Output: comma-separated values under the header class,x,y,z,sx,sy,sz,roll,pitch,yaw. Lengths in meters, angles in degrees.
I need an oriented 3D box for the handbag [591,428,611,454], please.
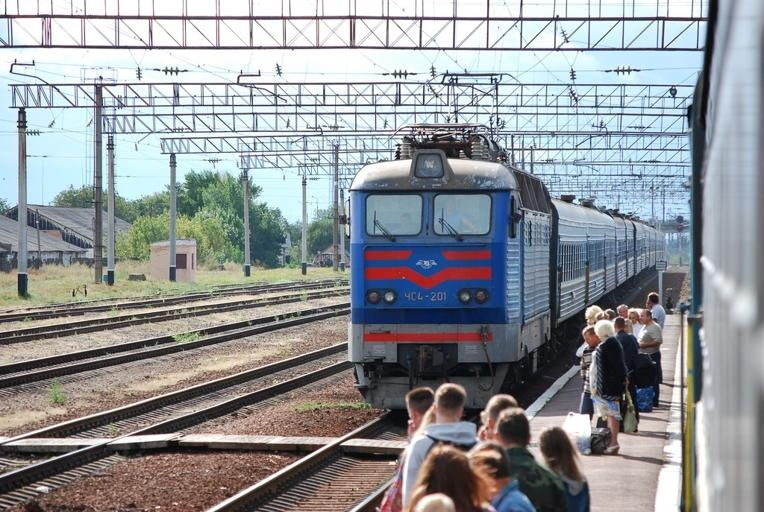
class,x,y,z,sx,sy,sz,roll,pitch,yaw
handbag,2.598,2.204,10.425,0.337,0.344,0.236,1,-3,6
